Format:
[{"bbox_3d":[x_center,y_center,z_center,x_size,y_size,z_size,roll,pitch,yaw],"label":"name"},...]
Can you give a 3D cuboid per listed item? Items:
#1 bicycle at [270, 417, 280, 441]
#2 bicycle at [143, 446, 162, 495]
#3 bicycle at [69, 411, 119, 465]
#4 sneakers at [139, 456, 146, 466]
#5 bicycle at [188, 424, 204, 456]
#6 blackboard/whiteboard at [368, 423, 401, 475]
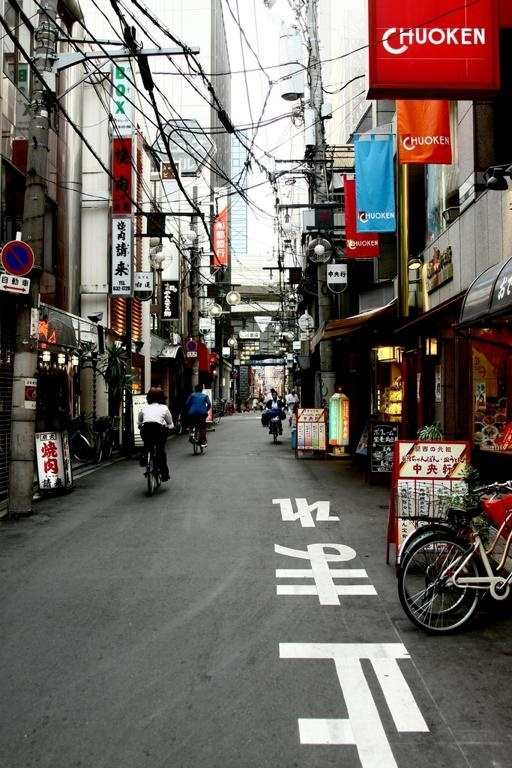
[{"bbox_3d":[0.625,1.531,26.255,0.356,0.823,1.156,0,-1,1],"label":"bicycle"},{"bbox_3d":[-1.635,1.382,12.598,0.199,0.733,0.825,0,-1,-2],"label":"bicycle"},{"bbox_3d":[-3.781,1.289,18.046,0.631,1.101,1.810,0,-1,9],"label":"bicycle"},{"bbox_3d":[-1.772,1.215,12.407,0.071,0.158,0.220,0,-1,-8],"label":"sneakers"},{"bbox_3d":[-1.616,1.560,21.177,0.312,0.572,0.812,-3,-3,3],"label":"bicycle"},{"bbox_3d":[2.224,1.072,13.819,0.518,0.415,1.151,-2,-45,7],"label":"blackboard/whiteboard"}]
